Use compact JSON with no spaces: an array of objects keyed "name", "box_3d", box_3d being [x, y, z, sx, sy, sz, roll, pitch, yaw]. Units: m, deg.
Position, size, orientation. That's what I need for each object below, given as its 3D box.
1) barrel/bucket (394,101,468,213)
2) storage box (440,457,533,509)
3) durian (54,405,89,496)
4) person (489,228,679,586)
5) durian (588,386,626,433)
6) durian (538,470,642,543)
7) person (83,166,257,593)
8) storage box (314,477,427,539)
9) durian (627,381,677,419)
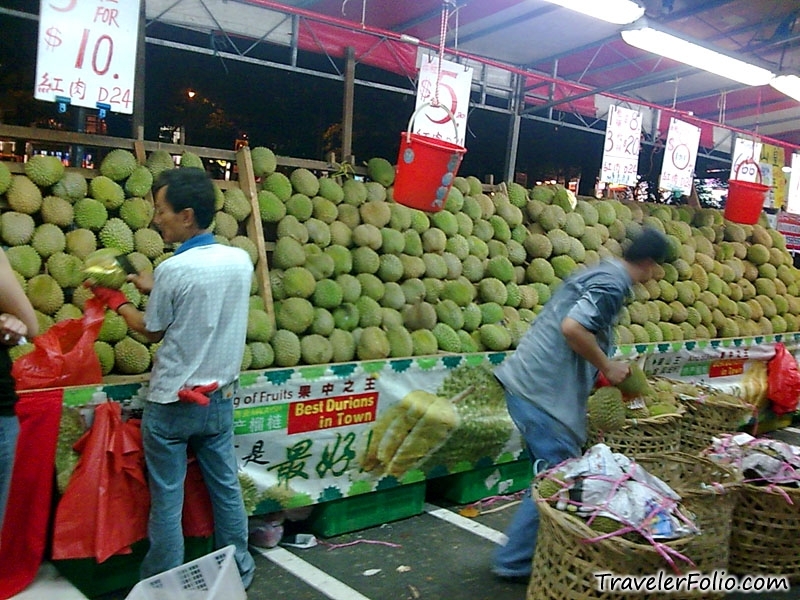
[{"name":"barrel/bucket","box_3d":[0.200,-1.032,4.023,0.485,0.735,0.592,19,19,19]},{"name":"storage box","box_3d":[0.833,1.567,4.681,0.901,0.326,1.056,0,-25,8]},{"name":"durian","box_3d":[-1.703,0.772,2.869,0.149,0.378,0.162,2,12,-43]},{"name":"person","box_3d":[1.000,0.602,3.232,0.882,1.919,0.716,1,2,-1]},{"name":"durian","box_3d":[1.240,0.670,3.530,0.238,0.283,0.295,3,4,12]},{"name":"durian","box_3d":[0.837,0.901,2.555,0.397,0.228,0.472,5,9,22]},{"name":"person","box_3d":[-1.135,0.478,2.985,0.688,2.173,0.739,-4,12,-44]},{"name":"storage box","box_3d":[-0.202,1.411,3.869,0.798,0.267,0.164,2,7,-32]},{"name":"durian","box_3d":[1.877,0.736,4.065,0.284,0.120,0.316,-3,-1,8]}]
